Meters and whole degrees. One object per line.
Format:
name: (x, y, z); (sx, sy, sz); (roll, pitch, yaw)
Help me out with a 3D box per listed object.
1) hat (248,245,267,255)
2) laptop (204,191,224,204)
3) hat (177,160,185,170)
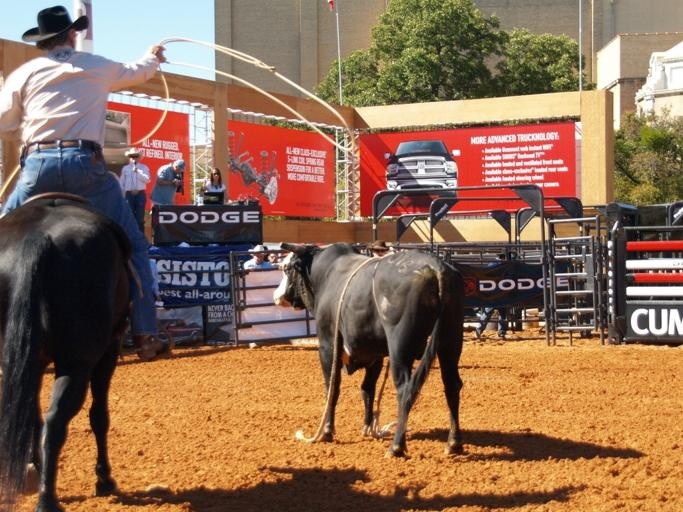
hat: (-1.811, -0.121, 28.065); (0.279, 0.115, 0.317); (4, -7, -44)
laptop: (-2.835, -1.276, 28.736); (0.372, 0.226, 0.266); (1, 1, -12)
hat: (-3.562, -2.020, 28.639); (0.165, 0.162, 0.197); (-1, -1, -34)
